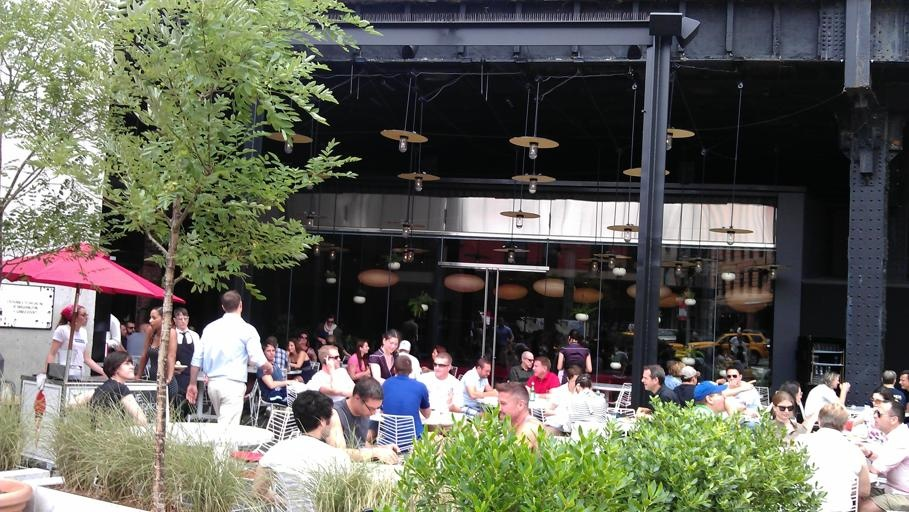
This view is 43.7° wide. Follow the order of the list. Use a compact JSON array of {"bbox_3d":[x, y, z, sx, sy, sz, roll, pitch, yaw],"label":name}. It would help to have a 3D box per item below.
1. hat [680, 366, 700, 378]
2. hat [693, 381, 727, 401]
[{"bbox_3d":[4.179,2.064,19.835,0.336,0.168,0.243,-20,20,-40],"label":"hat"},{"bbox_3d":[4.331,2.325,19.150,0.492,0.261,0.302,-17,0,11],"label":"hat"}]
